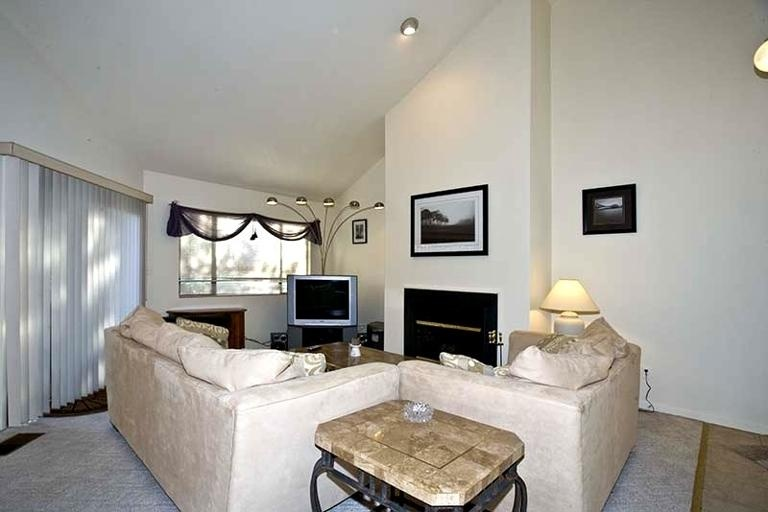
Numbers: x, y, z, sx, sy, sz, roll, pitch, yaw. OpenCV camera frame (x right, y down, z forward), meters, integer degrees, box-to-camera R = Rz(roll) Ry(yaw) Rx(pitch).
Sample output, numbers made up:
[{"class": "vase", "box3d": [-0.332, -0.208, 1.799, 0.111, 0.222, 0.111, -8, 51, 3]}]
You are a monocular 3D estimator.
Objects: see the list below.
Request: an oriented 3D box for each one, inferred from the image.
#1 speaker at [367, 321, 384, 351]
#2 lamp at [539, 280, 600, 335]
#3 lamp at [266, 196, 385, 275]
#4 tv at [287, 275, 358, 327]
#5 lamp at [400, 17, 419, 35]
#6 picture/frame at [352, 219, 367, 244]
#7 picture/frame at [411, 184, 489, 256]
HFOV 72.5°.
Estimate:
[{"class": "speaker", "box3d": [-0.099, 1.121, 7.470, 0.286, 0.375, 0.298, 1, 4, 8]}, {"class": "lamp", "box3d": [2.049, 0.533, 5.818, 0.594, 0.696, 0.590, 4, -6, -41]}, {"class": "lamp", "box3d": [-0.946, -0.323, 8.565, 1.400, 1.203, 0.677, 0, 0, -3]}, {"class": "tv", "box3d": [-0.853, 0.642, 7.340, 1.142, 0.881, 0.635, 1, 2, 2]}, {"class": "lamp", "box3d": [0.278, -2.521, 5.764, 0.172, 0.066, 0.180, -1, -4, 0]}, {"class": "picture/frame", "box3d": [-0.381, -0.403, 8.400, 0.029, 0.444, 0.364, 5, -6, -43]}, {"class": "picture/frame", "box3d": [0.825, -0.428, 6.274, 0.842, 0.696, 0.033, -2, -1, 34]}]
